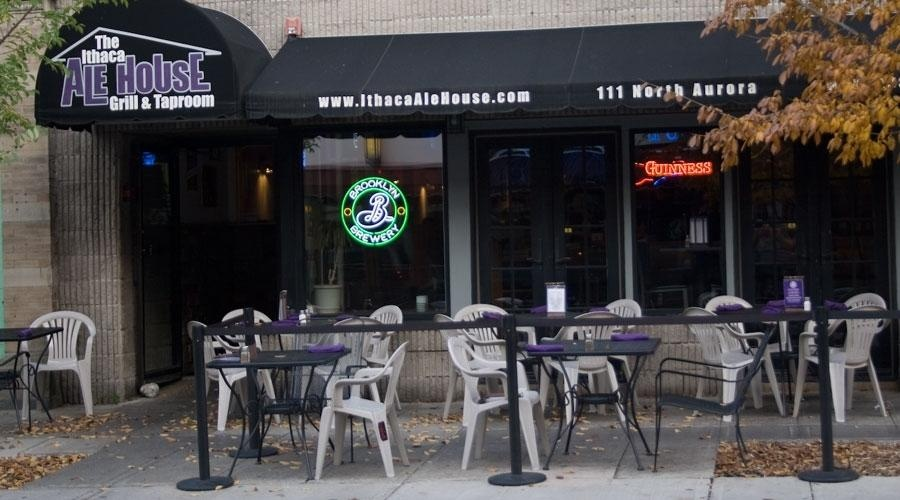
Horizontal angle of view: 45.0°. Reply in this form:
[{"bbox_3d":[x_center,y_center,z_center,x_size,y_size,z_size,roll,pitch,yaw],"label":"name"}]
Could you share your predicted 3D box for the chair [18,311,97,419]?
[{"bbox_3d":[-5.965,1.790,17.215,1.397,2.027,1.441,1,-12,-12],"label":"chair"}]
